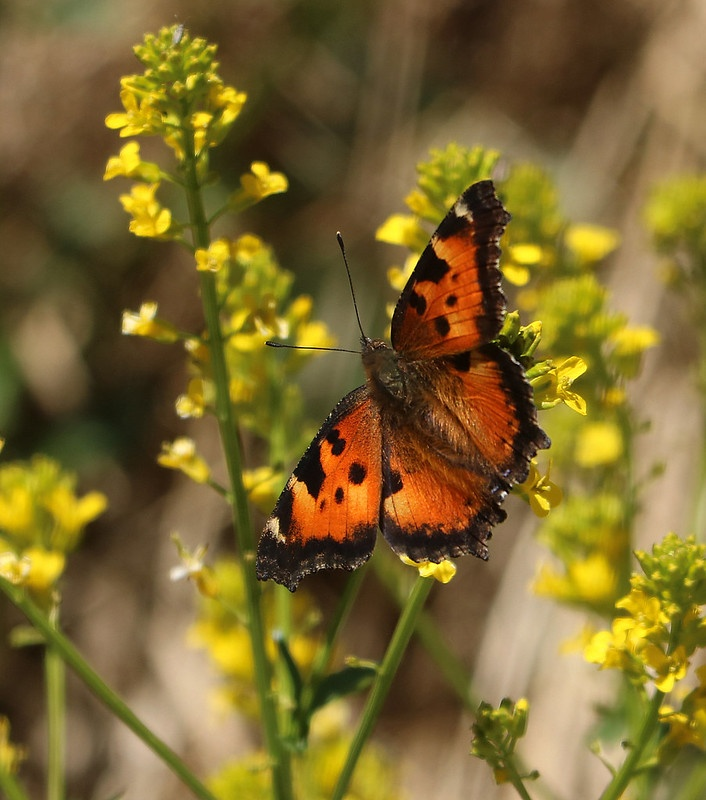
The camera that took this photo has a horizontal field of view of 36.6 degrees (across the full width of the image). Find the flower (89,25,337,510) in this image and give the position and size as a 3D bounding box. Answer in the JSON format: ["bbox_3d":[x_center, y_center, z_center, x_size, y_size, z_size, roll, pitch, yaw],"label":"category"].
[{"bbox_3d":[-0.157,-0.139,1.068,0.194,0.553,0.225,5,-8,-9],"label":"flower"}]
